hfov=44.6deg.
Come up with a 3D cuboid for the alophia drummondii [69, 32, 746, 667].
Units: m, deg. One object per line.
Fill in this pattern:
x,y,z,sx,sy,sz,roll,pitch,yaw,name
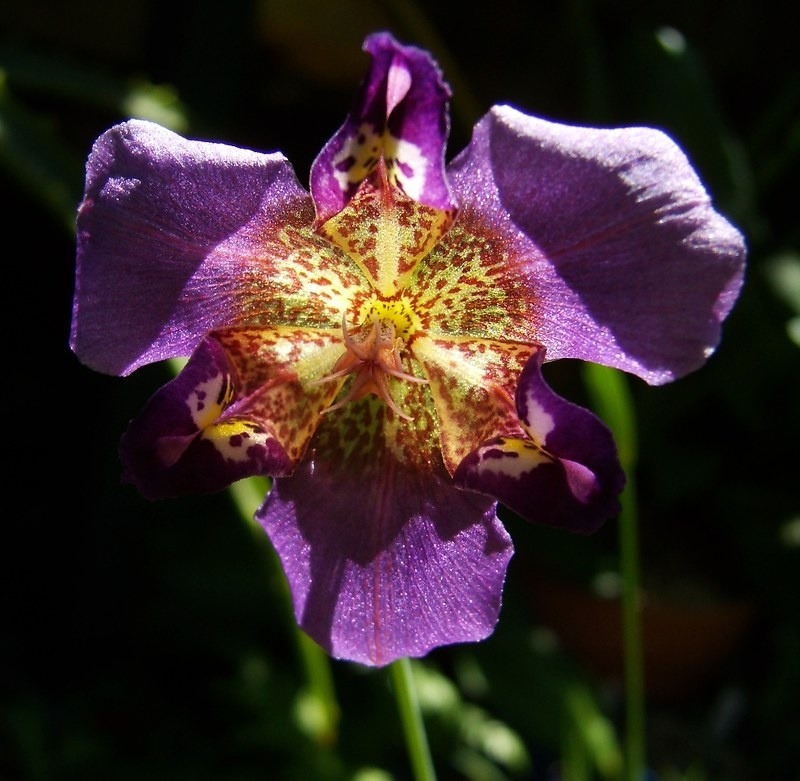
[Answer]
-0.022,-0.032,0.751,0.484,0.388,0.293,23,48,5,alophia drummondii
